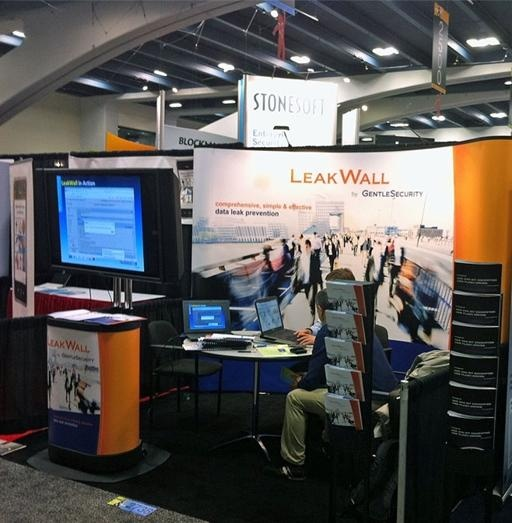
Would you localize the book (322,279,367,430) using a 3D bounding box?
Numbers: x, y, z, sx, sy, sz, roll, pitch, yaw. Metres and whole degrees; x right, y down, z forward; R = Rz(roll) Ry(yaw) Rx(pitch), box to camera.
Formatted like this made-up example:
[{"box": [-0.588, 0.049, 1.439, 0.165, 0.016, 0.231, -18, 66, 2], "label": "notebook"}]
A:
[{"box": [0.374, 0.394, 2.019, 0.175, 0.575, 0.134, 3, -1, 21], "label": "book"}]

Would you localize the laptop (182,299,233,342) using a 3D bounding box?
[{"box": [-0.333, 0.393, 3.447, 0.361, 0.267, 0.214, 1, -20, -17], "label": "laptop"}]

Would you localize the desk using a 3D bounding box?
[{"box": [-0.007, 0.871, 3.212, 0.787, 0.595, 0.823, 0, -5, -4], "label": "desk"}]

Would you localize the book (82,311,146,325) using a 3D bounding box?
[{"box": [-0.899, 0.329, 2.900, 0.398, 0.031, 0.318, 4, 0, 41], "label": "book"}]

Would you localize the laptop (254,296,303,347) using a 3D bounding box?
[{"box": [0.200, 0.403, 3.471, 0.317, 0.252, 0.399, 4, 3, 23], "label": "laptop"}]

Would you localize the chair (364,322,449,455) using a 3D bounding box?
[{"box": [0.723, 0.617, 2.322, 0.397, 0.547, 0.384, 0, 3, 26], "label": "chair"}]

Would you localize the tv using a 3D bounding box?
[{"box": [-0.847, -0.213, 2.798, 0.930, 0.603, 0.137, 6, 11, 29], "label": "tv"}]
